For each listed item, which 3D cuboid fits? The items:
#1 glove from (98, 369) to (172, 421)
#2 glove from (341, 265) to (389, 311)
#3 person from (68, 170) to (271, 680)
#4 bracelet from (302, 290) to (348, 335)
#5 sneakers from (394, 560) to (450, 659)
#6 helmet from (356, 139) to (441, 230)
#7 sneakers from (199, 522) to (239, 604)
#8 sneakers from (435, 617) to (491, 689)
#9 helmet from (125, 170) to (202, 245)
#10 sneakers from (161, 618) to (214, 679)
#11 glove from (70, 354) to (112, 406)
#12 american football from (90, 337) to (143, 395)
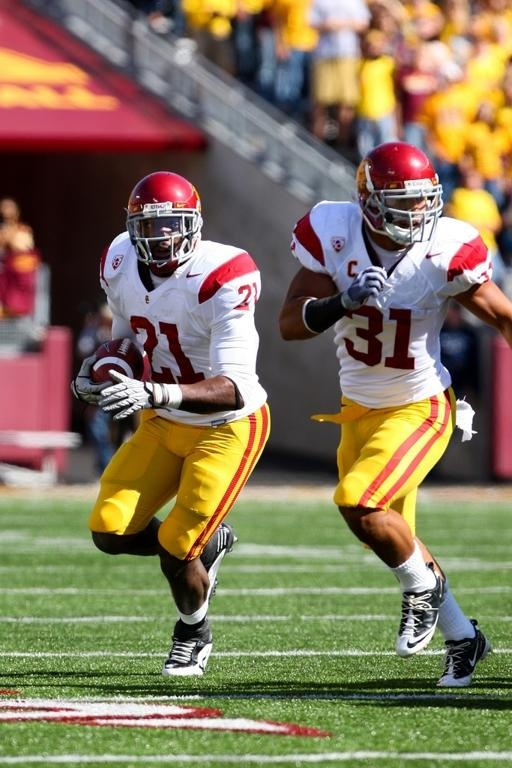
[{"bbox_3d":[-0.270,0.031,2.128,0.203,0.053,0.101,-4,10,2],"label":"glove"},{"bbox_3d":[0.225,-0.209,1.997,0.082,0.039,0.106,-42,-4,38],"label":"glove"},{"bbox_3d":[-0.216,0.164,2.338,0.488,1.364,0.674,-2,16,1],"label":"person"},{"bbox_3d":[0.156,-0.164,2.138,0.097,0.112,0.221,-1,14,2],"label":"bracelet"},{"bbox_3d":[0.361,0.519,2.188,0.092,0.243,0.110,9,-19,36],"label":"sneakers"},{"bbox_3d":[0.352,-0.496,2.304,0.197,0.189,0.241,-15,33,-23],"label":"helmet"},{"bbox_3d":[-0.126,0.501,2.542,0.083,0.212,0.109,27,31,25],"label":"sneakers"},{"bbox_3d":[0.489,0.652,2.219,0.071,0.080,0.198,-15,20,43],"label":"sneakers"},{"bbox_3d":[-0.255,-0.469,2.439,0.204,0.181,0.243,-3,20,-6],"label":"helmet"},{"bbox_3d":[-0.168,0.668,2.318,0.072,0.072,0.189,1,9,11],"label":"sneakers"},{"bbox_3d":[-0.415,-0.007,2.357,0.114,0.073,0.125,4,55,2],"label":"glove"},{"bbox_3d":[-0.356,-0.058,2.356,0.118,0.100,0.136,6,-4,-2],"label":"american football"}]
